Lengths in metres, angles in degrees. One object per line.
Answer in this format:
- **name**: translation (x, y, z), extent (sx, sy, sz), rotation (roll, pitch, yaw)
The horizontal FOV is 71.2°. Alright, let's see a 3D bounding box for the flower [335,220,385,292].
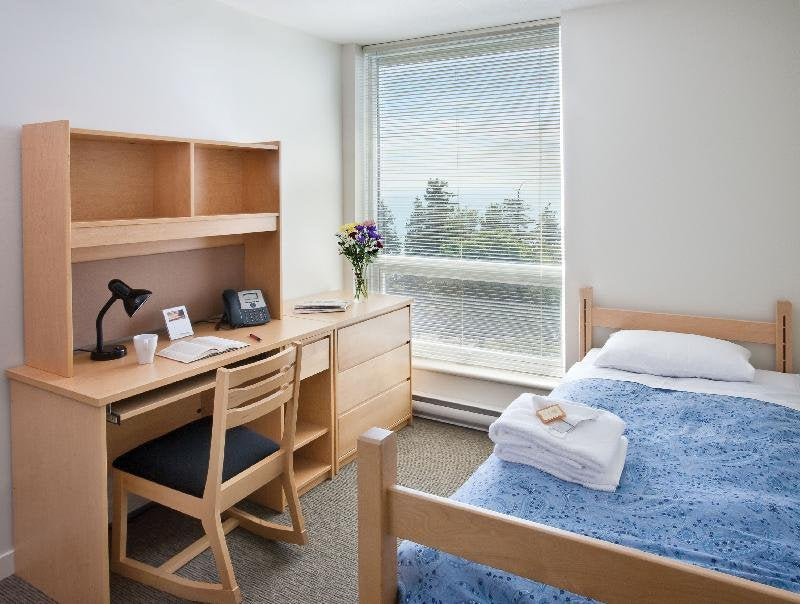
- **flower**: translation (-0.290, -0.314, 4.073), extent (0.338, 0.515, 0.606), rotation (-5, 12, -6)

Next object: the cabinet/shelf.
- **cabinet/shelf**: translation (-1.207, -0.339, 2.964), extent (0.392, 0.945, 1.288), rotation (15, 17, 31)

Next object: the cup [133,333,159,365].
- **cup**: translation (-1.177, 0.218, 2.638), extent (0.125, 0.125, 0.151), rotation (-5, 13, -41)

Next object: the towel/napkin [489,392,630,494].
- **towel/napkin**: translation (0.616, 0.539, 2.175), extent (0.357, 0.114, 0.352), rotation (6, 11, 28)
